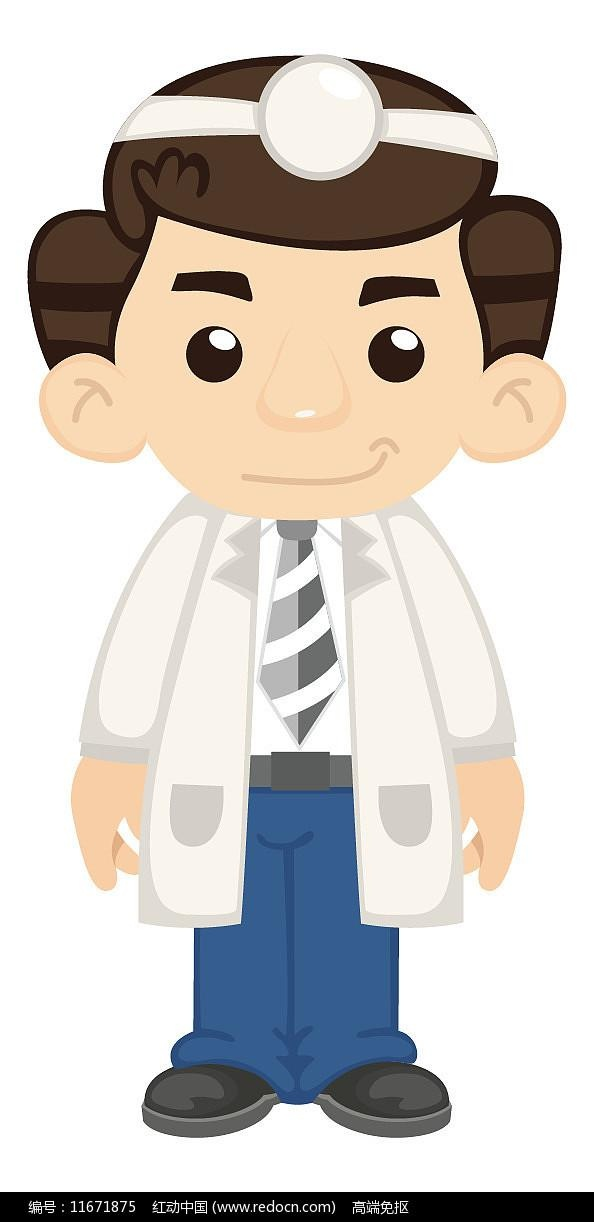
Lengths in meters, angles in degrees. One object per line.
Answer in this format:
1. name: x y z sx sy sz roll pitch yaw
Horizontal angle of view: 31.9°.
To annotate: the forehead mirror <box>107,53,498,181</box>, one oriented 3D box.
1. forehead mirror: 0.006 -0.807 1.731 0.641 0.189 0.227 2 16 11
